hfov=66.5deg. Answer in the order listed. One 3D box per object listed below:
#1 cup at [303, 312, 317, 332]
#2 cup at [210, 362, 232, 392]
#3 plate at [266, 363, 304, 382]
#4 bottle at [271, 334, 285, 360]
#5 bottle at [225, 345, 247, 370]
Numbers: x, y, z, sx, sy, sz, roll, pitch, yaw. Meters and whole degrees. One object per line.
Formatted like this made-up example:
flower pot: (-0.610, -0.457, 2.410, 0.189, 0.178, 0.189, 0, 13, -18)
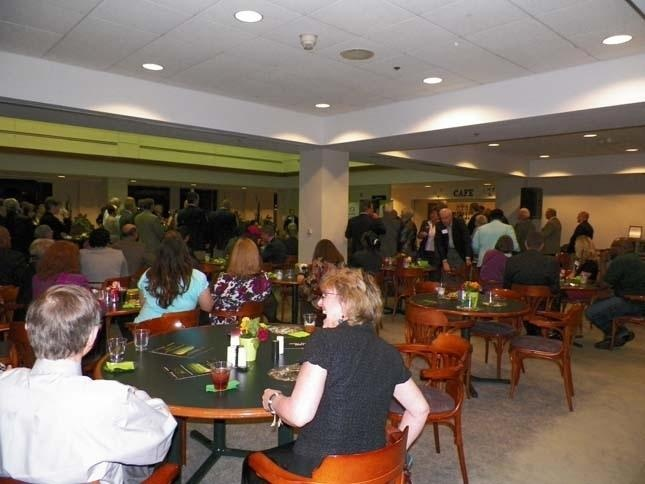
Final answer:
cup: (-0.097, 0.593, 3.637, 0.079, 0.161, 0.196, 0, 7, -4)
cup: (-0.534, 0.702, 2.588, 0.139, 0.136, 0.133, -1, -3, 0)
plate: (-0.225, 0.738, 2.826, 0.175, 0.025, 0.279, 1, 6, 1)
bottle: (-0.288, 0.676, 3.150, 0.102, 0.165, 0.097, 0, 11, 0)
bottle: (-0.504, 0.671, 2.899, 0.131, 0.117, 0.126, 2, 4, 0)
